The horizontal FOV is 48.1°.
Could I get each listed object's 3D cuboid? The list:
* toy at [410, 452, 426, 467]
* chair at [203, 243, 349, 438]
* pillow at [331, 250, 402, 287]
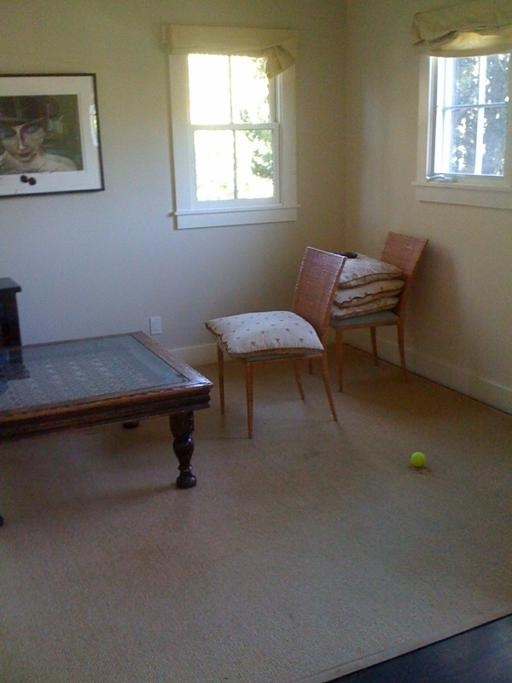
[{"bbox_3d":[0.663,0.482,2.394,0.062,0.056,0.058,-5,-24,-43],"label":"toy"},{"bbox_3d":[0.145,-0.109,3.189,0.901,1.143,0.859,-5,17,-20],"label":"chair"},{"bbox_3d":[0.595,-0.381,3.091,0.259,0.074,0.262,-2,19,-11],"label":"pillow"}]
